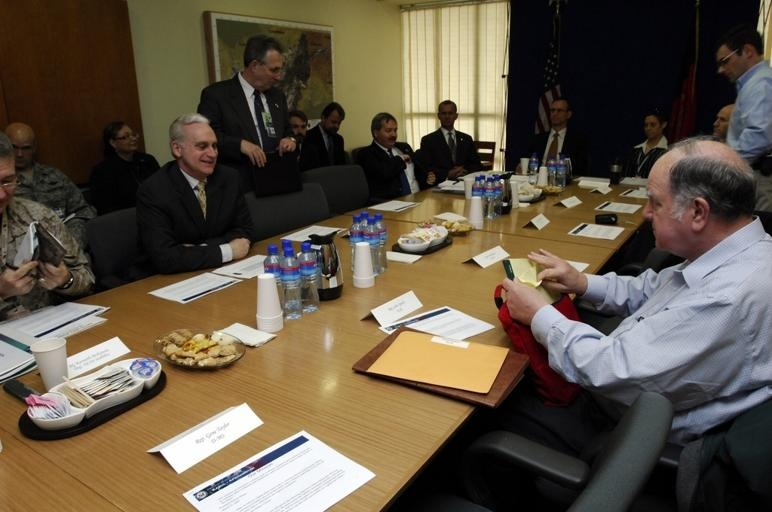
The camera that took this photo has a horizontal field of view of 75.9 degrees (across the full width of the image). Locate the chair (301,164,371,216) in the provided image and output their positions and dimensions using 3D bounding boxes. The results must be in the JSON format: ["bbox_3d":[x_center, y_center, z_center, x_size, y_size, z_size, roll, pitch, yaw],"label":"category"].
[{"bbox_3d":[-0.416,-0.662,4.716,0.521,0.643,0.503,7,19,44],"label":"chair"}]

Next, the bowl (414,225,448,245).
[{"bbox_3d":[0.294,-0.139,3.043,0.141,0.044,0.162,14,18,32],"label":"bowl"}]

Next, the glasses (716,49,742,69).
[{"bbox_3d":[2.794,-1.616,4.033,0.168,0.050,0.164,-26,-14,9],"label":"glasses"}]

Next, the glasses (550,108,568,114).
[{"bbox_3d":[1.967,-1.661,5.629,0.167,0.045,0.068,2,23,14],"label":"glasses"}]

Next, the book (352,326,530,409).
[{"bbox_3d":[0.224,0.405,1.817,0.392,0.041,0.280,9,21,30],"label":"book"}]

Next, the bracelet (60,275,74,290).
[{"bbox_3d":[-1.511,0.131,2.359,0.047,0.034,0.063,-8,18,-6],"label":"bracelet"}]
